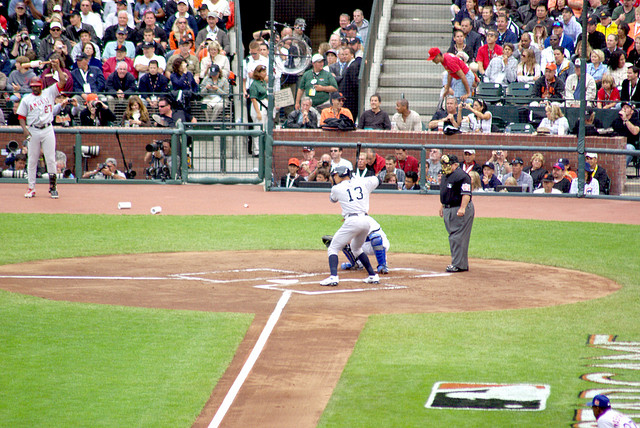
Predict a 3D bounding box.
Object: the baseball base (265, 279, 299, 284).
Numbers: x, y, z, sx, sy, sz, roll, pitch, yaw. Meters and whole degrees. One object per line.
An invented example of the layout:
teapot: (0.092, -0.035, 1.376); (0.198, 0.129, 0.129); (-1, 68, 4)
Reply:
baseball base: (-0.763, 1.305, 24.403); (0.626, 0.067, 0.295); (-1, 3, 0)

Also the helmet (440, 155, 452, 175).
helmet: (2.504, -1.024, 25.146); (0.208, 0.385, 0.284); (-3, 3, -28)

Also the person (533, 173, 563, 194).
person: (5.821, -0.796, 31.773); (0.705, 0.502, 1.186); (-2, -17, 17)

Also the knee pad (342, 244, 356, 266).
knee pad: (0.575, 0.826, 25.243); (0.171, 0.392, 0.297); (-39, 41, -28)

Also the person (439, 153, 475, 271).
person: (2.757, -0.042, 25.170); (0.647, 2.383, 0.605); (-1, 3, 5)

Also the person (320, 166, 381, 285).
person: (0.552, 0.204, 24.594); (1.252, 2.390, 1.087); (-2, 2, -22)

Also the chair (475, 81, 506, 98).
chair: (4.543, -3.375, 33.145); (0.611, 0.577, 0.512); (0, 9, 11)

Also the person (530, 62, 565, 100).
person: (5.984, -3.510, 32.741); (0.855, 1.005, 1.191); (3, -5, 7)

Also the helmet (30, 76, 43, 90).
helmet: (-6.904, -3.242, 30.199); (0.325, 0.268, 0.515); (-2, 3, -5)

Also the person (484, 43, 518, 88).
person: (4.827, -3.962, 33.224); (0.786, 1.251, 0.844); (9, 12, 5)

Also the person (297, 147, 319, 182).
person: (-0.315, -1.346, 32.437); (0.446, 0.909, 0.517); (-2, 3, -15)

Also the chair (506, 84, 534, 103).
chair: (5.272, -3.290, 32.925); (0.578, 0.542, 0.503); (1, 11, 12)
